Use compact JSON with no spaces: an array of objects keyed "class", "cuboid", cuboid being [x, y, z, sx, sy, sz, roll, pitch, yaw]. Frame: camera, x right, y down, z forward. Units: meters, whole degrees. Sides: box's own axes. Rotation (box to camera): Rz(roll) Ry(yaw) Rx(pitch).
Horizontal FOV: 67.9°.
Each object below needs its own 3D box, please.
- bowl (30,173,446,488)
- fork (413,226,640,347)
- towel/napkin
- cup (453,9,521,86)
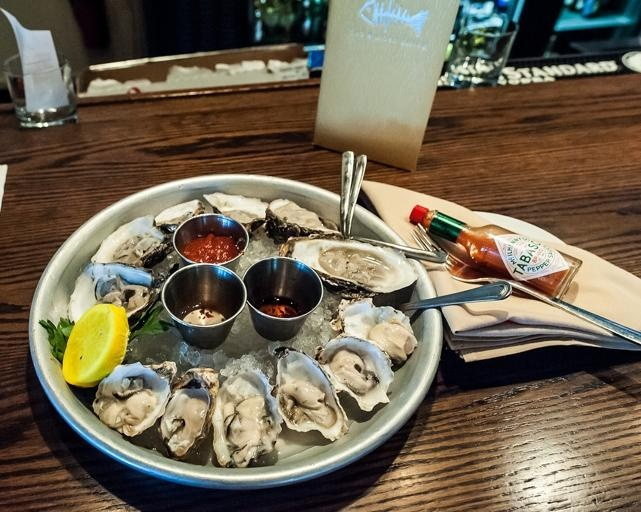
[{"class":"bowl","cuboid":[-0.179,0.096,1.035,0.801,0.164,0.788,3,43,-3]},{"class":"fork","cuboid":[0.449,0.076,1.085,0.523,0.044,0.061,28,48,23]},{"class":"towel/napkin","cuboid":[0.374,0.058,1.198,0.360,0.066,0.617,-27,48,-31]},{"class":"cup","cuboid":[0.623,-0.851,1.977,0.264,0.248,0.258,1,31,-1]}]
